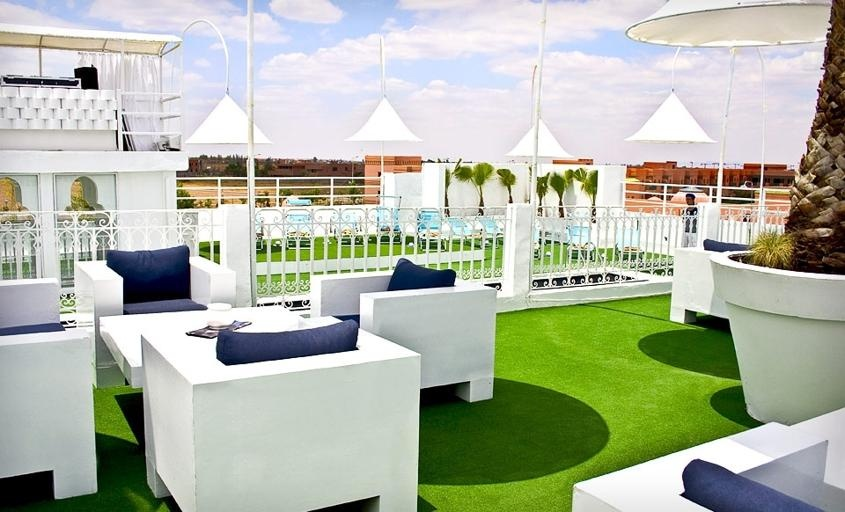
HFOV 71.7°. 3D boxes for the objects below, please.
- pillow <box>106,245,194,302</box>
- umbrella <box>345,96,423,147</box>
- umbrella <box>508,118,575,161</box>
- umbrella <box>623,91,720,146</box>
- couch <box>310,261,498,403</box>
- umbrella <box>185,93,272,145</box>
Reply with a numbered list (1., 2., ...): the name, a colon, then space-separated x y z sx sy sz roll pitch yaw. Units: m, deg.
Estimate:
1. pillow: -2.800 0.205 5.989 0.529 0.387 0.186 -4 -17 -21
2. umbrella: -0.944 -3.219 13.863 1.232 1.090 2.573 0 14 -7
3. umbrella: 2.474 -2.309 12.278 1.707 0.761 1.699 0 9 -4
4. umbrella: 5.103 -2.681 12.432 1.440 0.689 1.433 -1 8 -4
5. couch: -0.143 0.536 5.642 1.223 1.172 1.656 -1 6 -21
6. umbrella: -3.839 -2.640 11.338 1.247 0.969 0.705 8 15 26
